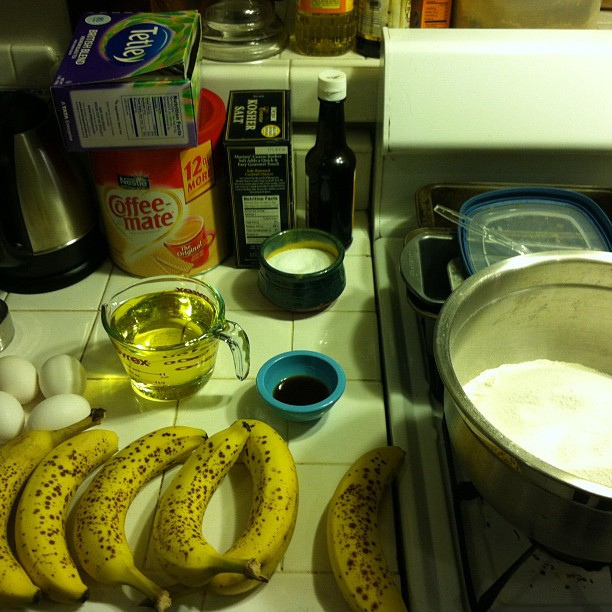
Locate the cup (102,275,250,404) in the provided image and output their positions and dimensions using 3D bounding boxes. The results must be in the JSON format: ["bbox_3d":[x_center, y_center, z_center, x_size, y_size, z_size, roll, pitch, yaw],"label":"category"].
[{"bbox_3d":[-0.165,0.060,0.753,0.174,0.127,0.146,17,37,11],"label":"cup"}]

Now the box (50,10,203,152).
[{"bbox_3d":[-0.231,-0.306,0.789,0.174,0.129,0.202,-4,45,-1],"label":"box"}]

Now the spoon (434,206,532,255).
[{"bbox_3d":[0.244,-0.102,0.770,0.136,0.014,0.026,26,59,6],"label":"spoon"}]

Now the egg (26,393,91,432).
[{"bbox_3d":[-0.287,0.124,0.677,0.064,0.041,0.042,-15,39,-31],"label":"egg"}]

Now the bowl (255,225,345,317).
[{"bbox_3d":[-0.003,-0.054,0.866,0.121,0.074,0.116,-2,45,2],"label":"bowl"}]

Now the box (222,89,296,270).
[{"bbox_3d":[-0.068,-0.201,0.926,0.104,0.231,0.156,-3,44,1],"label":"box"}]
